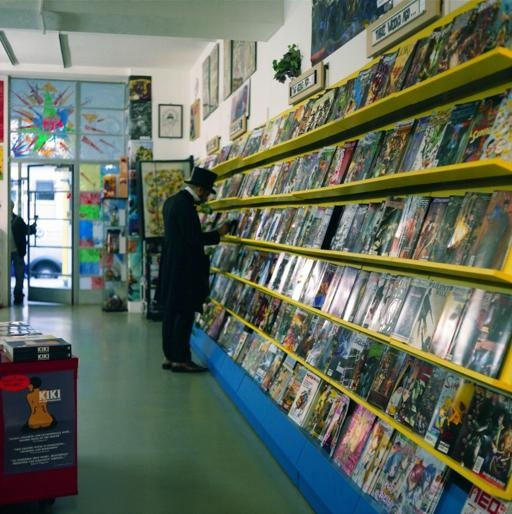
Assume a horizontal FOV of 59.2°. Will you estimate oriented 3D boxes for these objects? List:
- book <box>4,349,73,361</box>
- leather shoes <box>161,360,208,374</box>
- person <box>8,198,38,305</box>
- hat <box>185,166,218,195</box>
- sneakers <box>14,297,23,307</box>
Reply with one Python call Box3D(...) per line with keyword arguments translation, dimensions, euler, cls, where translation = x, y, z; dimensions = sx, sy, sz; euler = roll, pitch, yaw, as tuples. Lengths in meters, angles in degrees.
Box3D(translation=(-0.956, 0.449, 2.023), dimensions=(0.235, 0.050, 0.019), euler=(0, 3, -30), cls="book")
Box3D(translation=(-0.697, 1.026, 4.377), dimensions=(0.423, 0.175, 0.152), euler=(2, 1, -17), cls="leather shoes")
Box3D(translation=(-4.373, -0.040, 8.485), dimensions=(0.405, 1.836, 0.263), euler=(-1, 3, -35), cls="person")
Box3D(translation=(-0.504, -0.723, 4.225), dimensions=(0.197, 0.150, 0.268), euler=(11, 17, -41), cls="hat")
Box3D(translation=(-4.441, 0.835, 8.459), dimensions=(0.145, 0.273, 0.258), euler=(4, -8, -32), cls="sneakers")
